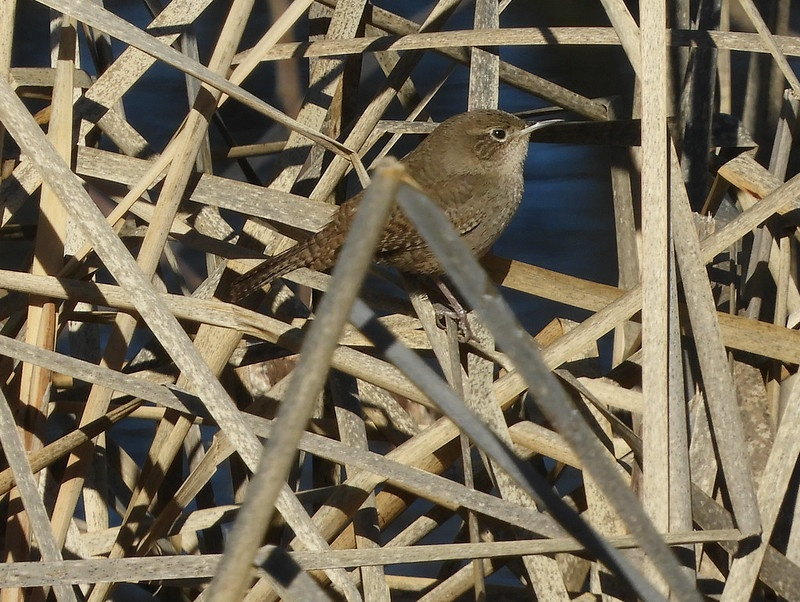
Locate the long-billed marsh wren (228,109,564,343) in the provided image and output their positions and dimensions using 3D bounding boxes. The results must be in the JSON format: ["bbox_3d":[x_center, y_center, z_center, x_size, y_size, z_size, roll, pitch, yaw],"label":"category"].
[{"bbox_3d":[-0.010,-0.145,3.217,0.658,0.407,0.211,-4,16,-11],"label":"long-billed marsh wren"}]
